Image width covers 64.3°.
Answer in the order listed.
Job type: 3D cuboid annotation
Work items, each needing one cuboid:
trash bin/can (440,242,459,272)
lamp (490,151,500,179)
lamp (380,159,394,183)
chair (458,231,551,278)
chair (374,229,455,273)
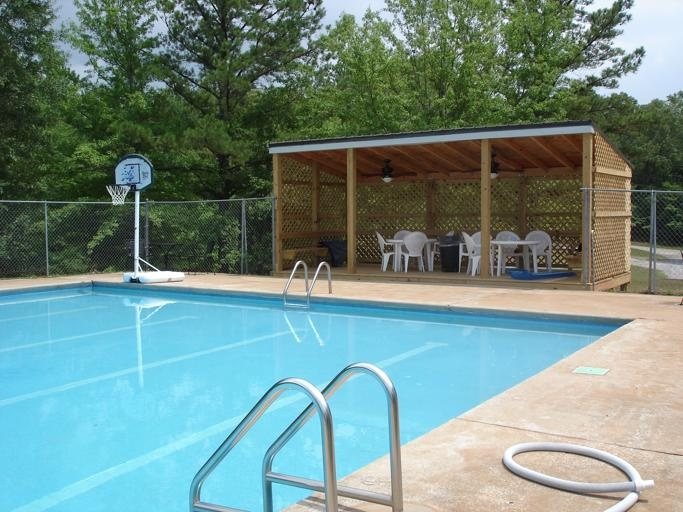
[{"bbox_3d":[2.481,0.033,12.491,0.595,0.827,0.571,0,-4,2],"label":"trash bin/can"},{"bbox_3d":[3.390,-2.013,12.042,0.143,0.550,1.060,1,7,15],"label":"lamp"},{"bbox_3d":[1.179,-2.127,13.735,0.406,0.658,0.413,2,1,13],"label":"lamp"},{"bbox_3d":[3.731,-0.134,11.899,1.281,0.616,1.248,1,-3,-39],"label":"chair"},{"bbox_3d":[1.714,-0.132,12.887,1.128,0.699,1.120,0,0,-19],"label":"chair"}]
